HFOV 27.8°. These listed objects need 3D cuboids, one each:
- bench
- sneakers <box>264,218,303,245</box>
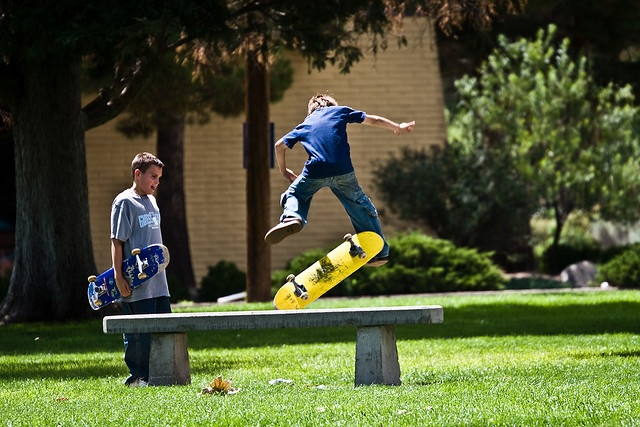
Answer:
[{"bbox_3d":[-0.818,2.207,21.531,5.576,1.458,0.984,-2,8,7],"label":"bench"},{"bbox_3d":[-0.605,0.185,21.817,0.570,0.290,0.226,0,30,38],"label":"sneakers"}]
